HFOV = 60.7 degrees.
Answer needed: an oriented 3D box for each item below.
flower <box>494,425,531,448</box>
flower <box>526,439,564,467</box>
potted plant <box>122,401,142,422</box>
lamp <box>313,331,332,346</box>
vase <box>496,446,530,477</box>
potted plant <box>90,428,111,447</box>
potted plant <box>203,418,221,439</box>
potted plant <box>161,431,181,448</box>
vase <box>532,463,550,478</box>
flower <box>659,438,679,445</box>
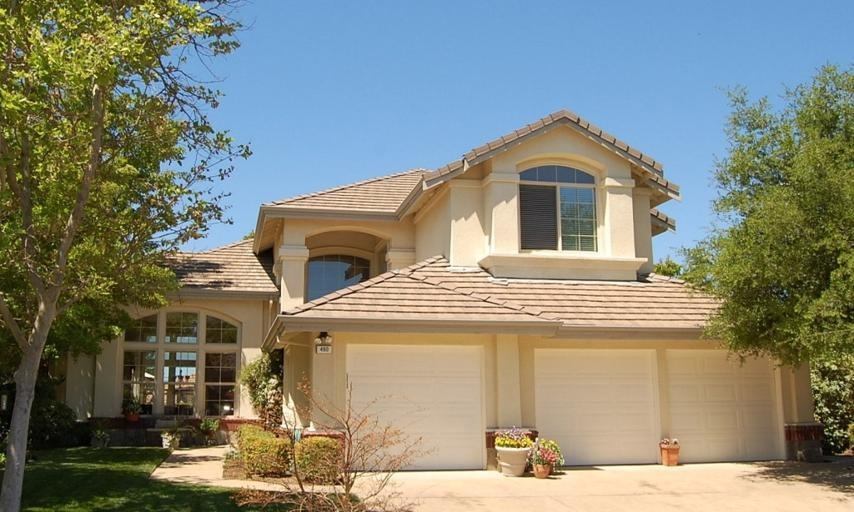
[{"bbox_3d":[2.751,5.868,23.562,0.772,0.403,0.763,-5,-11,24],"label":"flower"},{"bbox_3d":[3.792,6.475,23.625,1.050,0.863,1.006,2,-13,10],"label":"flower"},{"bbox_3d":[-12.363,6.535,30.535,0.794,0.760,0.785,4,-17,-25],"label":"potted plant"},{"bbox_3d":[-3.358,2.679,23.380,0.539,0.469,0.523,1,-9,-4],"label":"lamp"},{"bbox_3d":[2.734,6.605,23.400,0.973,0.638,0.965,-7,-16,28],"label":"vase"},{"bbox_3d":[-13.164,7.438,29.635,0.714,0.634,0.695,-1,-13,6],"label":"potted plant"},{"bbox_3d":[-9.191,7.369,31.136,0.871,0.881,0.727,2,-9,-10],"label":"potted plant"},{"bbox_3d":[-10.337,7.505,29.710,0.710,0.484,0.696,-5,-13,21],"label":"potted plant"},{"bbox_3d":[3.578,6.812,23.119,0.467,0.305,0.450,9,-18,-24],"label":"vase"},{"bbox_3d":[8.271,6.332,24.932,0.650,0.198,0.273,2,-14,-14],"label":"flower"}]
